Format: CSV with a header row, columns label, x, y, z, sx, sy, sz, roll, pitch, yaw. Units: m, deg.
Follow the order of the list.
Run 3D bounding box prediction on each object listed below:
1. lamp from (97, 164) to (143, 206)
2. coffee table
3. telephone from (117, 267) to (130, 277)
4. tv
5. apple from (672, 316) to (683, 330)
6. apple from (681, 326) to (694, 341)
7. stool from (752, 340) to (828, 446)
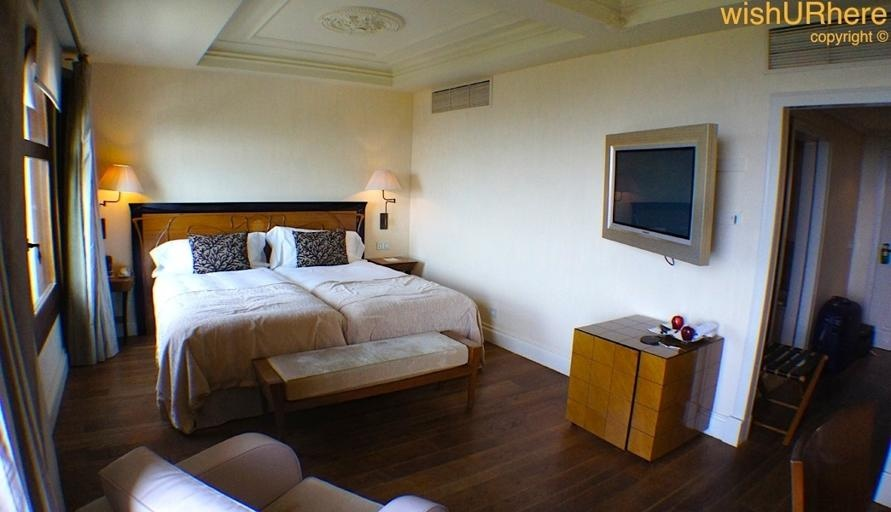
label,x,y,z,sx,sy,sz,roll,pitch,yaw
lamp,-3.876,-0.807,6.389,0.452,0.406,0.415,2,-5,-41
coffee table,1.955,1.144,5.524,1.341,1.151,1.235,-6,13,-30
telephone,-3.912,0.194,6.534,0.106,0.043,0.132,5,12,-9
tv,2.080,-0.603,5.127,0.195,1.284,1.368,-11,16,-38
apple,2.225,0.640,5.162,0.106,0.118,0.042,-3,-4,25
apple,2.251,0.717,5.002,0.116,0.132,0.078,-1,10,10
stool,3.264,1.287,5.096,0.722,0.886,0.562,-37,39,-24
